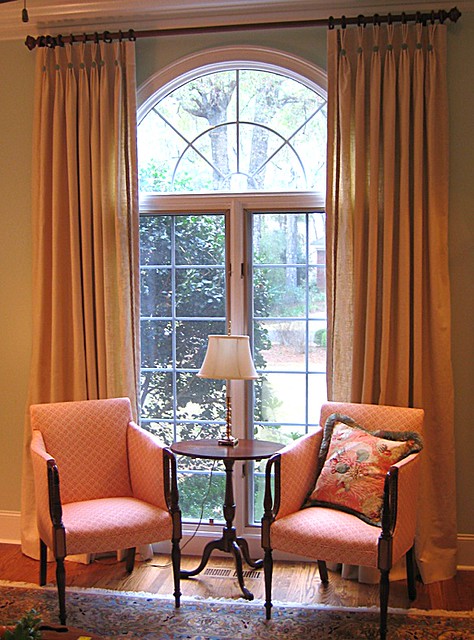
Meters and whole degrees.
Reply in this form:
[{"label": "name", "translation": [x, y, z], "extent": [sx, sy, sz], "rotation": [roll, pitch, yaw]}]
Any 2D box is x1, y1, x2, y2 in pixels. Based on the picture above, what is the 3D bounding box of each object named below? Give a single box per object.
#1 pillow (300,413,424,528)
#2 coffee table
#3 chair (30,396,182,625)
[{"label": "pillow", "translation": [0.521, 0.630, 2.899], "extent": [0.121, 0.398, 0.397], "rotation": [32, -16, -35]}, {"label": "coffee table", "translation": [-0.051, 0.908, 3.226], "extent": [0.541, 0.610, 0.534], "rotation": [-7, -25, 22]}, {"label": "chair", "translation": [-0.654, 0.826, 3.095], "extent": [0.611, 0.817, 0.654], "rotation": [0, 2, -41]}]
